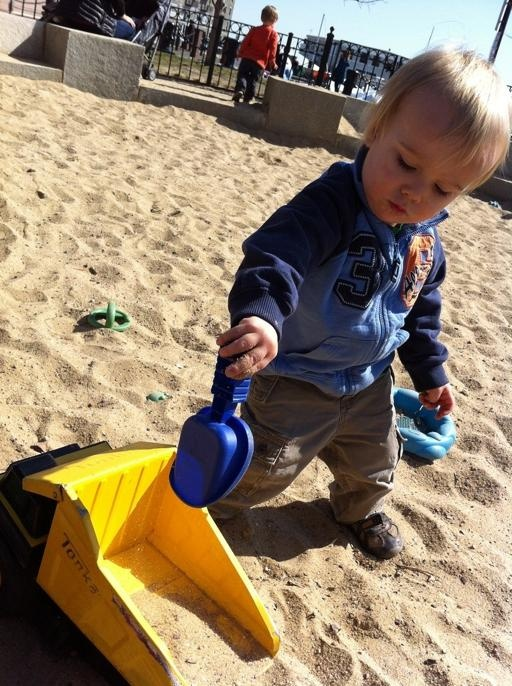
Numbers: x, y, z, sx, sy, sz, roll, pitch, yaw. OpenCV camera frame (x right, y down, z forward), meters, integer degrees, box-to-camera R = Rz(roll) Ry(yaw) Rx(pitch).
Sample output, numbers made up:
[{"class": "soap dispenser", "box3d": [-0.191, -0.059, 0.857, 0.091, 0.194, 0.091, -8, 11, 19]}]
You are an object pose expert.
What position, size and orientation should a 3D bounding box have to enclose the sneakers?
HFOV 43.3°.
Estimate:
[{"class": "sneakers", "box3d": [0.393, 0.617, 2.158, 0.136, 0.119, 0.291, -21, 12, -14]}]
